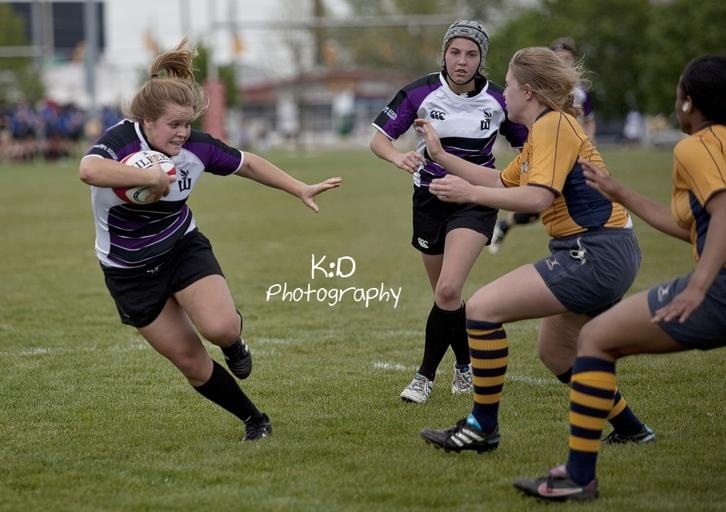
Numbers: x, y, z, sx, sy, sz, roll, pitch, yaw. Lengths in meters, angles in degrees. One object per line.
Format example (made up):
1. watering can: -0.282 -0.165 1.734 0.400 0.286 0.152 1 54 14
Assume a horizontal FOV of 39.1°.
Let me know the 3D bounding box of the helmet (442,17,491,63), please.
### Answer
1. helmet: 0.804 -1.695 7.749 0.319 0.305 0.339 13 -13 4

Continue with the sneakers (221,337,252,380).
1. sneakers: -0.843 0.733 7.085 0.135 0.352 0.164 -24 20 -9

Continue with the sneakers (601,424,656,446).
1. sneakers: 1.823 1.207 6.964 0.386 0.145 0.131 -1 -5 1

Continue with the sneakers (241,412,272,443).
1. sneakers: -0.720 1.170 7.016 0.224 0.202 0.144 -2 4 10

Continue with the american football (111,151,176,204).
1. american football: -1.404 -0.521 6.802 0.422 0.299 0.242 -20 -11 -4

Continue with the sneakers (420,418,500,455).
1. sneakers: 0.660 1.184 6.776 0.533 0.218 0.200 3 -9 4

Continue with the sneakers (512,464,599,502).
1. sneakers: 1.199 1.391 6.342 0.502 0.197 0.188 3 -8 7
